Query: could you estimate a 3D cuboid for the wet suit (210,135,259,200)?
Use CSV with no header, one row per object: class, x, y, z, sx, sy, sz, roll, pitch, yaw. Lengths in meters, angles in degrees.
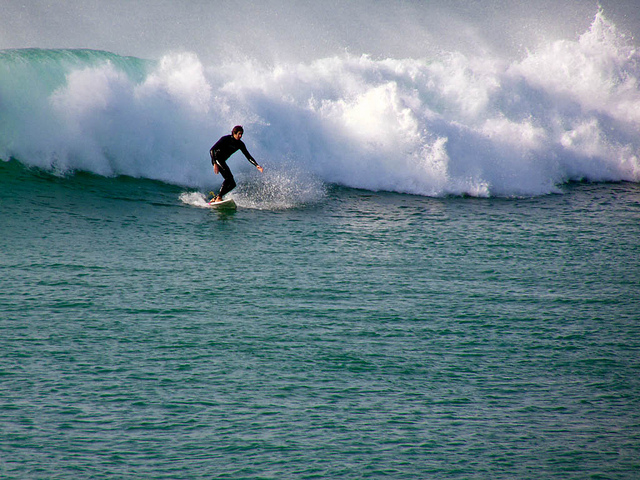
wet suit,-2.246,-1.802,27.990,1.002,1.666,0.907,-10,29,-4
